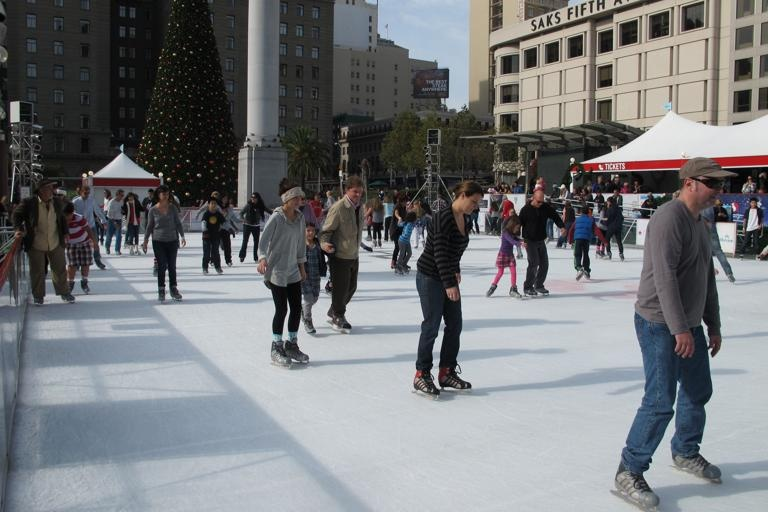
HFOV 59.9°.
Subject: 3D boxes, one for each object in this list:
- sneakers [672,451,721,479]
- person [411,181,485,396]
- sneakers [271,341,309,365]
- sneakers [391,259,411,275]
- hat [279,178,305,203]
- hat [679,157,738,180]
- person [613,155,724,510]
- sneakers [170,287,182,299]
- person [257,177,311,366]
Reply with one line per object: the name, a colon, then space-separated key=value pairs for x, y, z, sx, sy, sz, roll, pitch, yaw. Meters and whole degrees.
sneakers: x=2.859 y=1.920 z=6.166 sx=0.155 sy=0.227 sz=0.461 roll=-12 pitch=6 yaw=-36
person: x=0.720 y=0.393 z=7.824 sx=0.753 sy=2.521 sz=0.577 roll=1 pitch=8 yaw=6
sneakers: x=-1.307 y=1.313 z=8.989 sx=0.628 sy=0.319 sz=0.235 roll=0 pitch=-2 yaw=35
sneakers: x=0.355 y=0.354 z=18.041 sx=0.212 sy=0.293 sz=0.633 roll=-4 pitch=-1 yaw=-37
hat: x=-1.323 y=-0.901 z=9.227 sx=0.367 sy=0.348 sz=0.297 roll=-1 pitch=3 yaw=21
hat: x=2.786 y=-0.724 z=5.752 sx=0.376 sy=0.156 sz=0.267 roll=1 pitch=3 yaw=25
person: x=2.565 y=0.636 z=5.817 sx=1.133 sy=2.958 sz=0.560 roll=-5 pitch=9 yaw=-34
sneakers: x=-4.217 y=0.748 z=13.407 sx=0.071 sy=0.238 sz=0.204 roll=0 pitch=-10 yaw=37
person: x=-1.324 y=0.258 z=8.985 sx=0.591 sy=2.362 sz=0.746 roll=7 pitch=10 yaw=41
